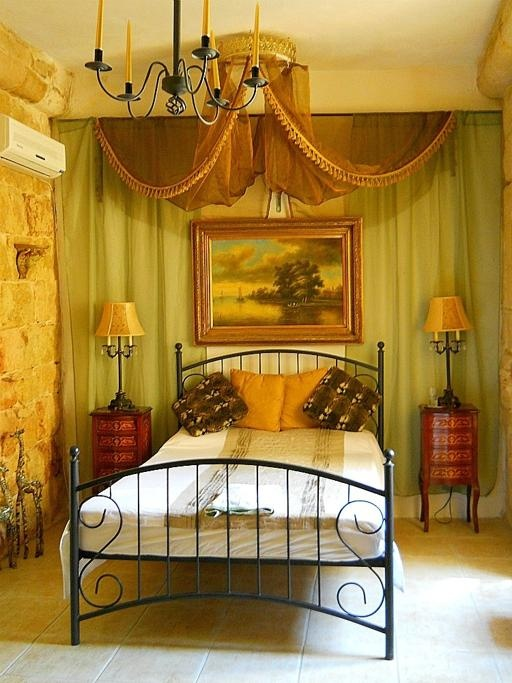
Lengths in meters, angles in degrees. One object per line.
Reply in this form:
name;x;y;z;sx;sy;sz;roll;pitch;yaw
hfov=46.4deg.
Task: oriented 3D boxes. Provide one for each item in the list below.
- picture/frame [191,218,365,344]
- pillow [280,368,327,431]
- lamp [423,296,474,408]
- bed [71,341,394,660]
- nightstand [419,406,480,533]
picture/frame;0.180;-0.413;3.891;0.824;0.592;0.035;0;4;6
pillow;0.257;0.362;3.668;0.323;0.325;0.100;-1;-21;18
lamp;1.172;0.068;3.656;0.263;0.669;0.300;-1;0;19
bed;0.014;0.650;3.234;1.332;1.098;2.184;-1;0;3
nightstand;1.170;0.770;3.656;0.362;0.713;0.350;0;-3;16
